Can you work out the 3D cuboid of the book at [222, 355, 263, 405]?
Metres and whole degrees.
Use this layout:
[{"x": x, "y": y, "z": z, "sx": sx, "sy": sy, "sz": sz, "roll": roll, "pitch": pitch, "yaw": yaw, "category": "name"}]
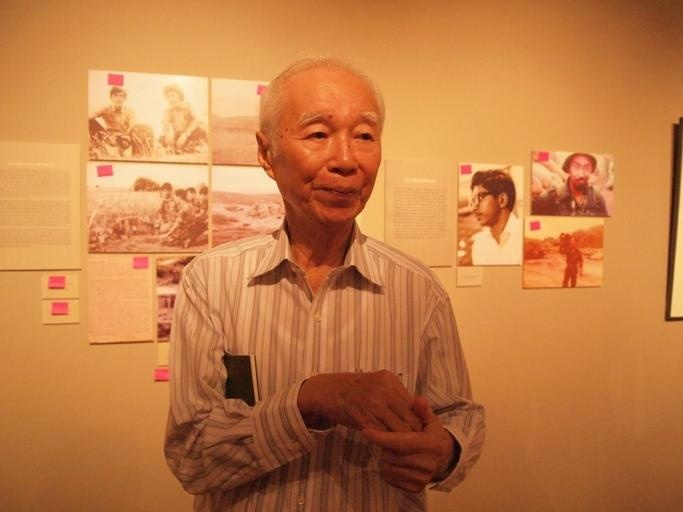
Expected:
[{"x": -0.375, "y": 0.457, "z": 2.042, "sx": 0.132, "sy": 0.180, "sz": 0.070, "roll": 1, "pitch": 6, "yaw": -8, "category": "book"}]
